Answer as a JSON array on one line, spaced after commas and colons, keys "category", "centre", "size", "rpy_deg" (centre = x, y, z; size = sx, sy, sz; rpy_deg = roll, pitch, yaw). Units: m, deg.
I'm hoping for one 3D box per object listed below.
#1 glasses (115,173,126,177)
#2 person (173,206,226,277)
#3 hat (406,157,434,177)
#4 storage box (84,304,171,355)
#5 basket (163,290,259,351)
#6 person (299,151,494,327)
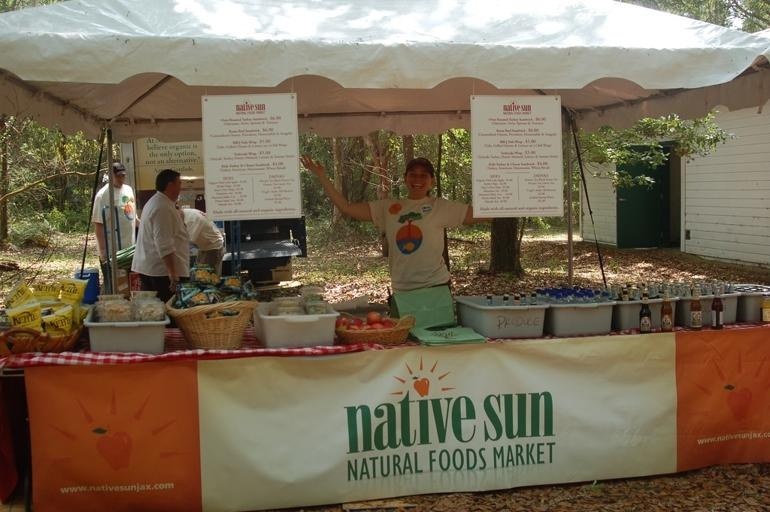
[{"category": "glasses", "centre": [-3.440, -1.090, 8.443], "size": [0.118, 0.051, 0.074], "rpy_deg": [22, 20, 33]}, {"category": "person", "centre": [-2.286, -0.196, 7.915], "size": [0.588, 0.420, 1.018], "rpy_deg": [-1, -34, -10]}, {"category": "hat", "centre": [0.316, -0.851, 6.056], "size": [0.252, 0.181, 0.332], "rpy_deg": [-1, 12, 1]}, {"category": "storage box", "centre": [-2.066, 0.550, 5.157], "size": [0.591, 0.233, 0.732], "rpy_deg": [2, 11, -21]}, {"category": "basket", "centre": [-1.287, 0.459, 5.005], "size": [0.477, 0.238, 0.472], "rpy_deg": [-4, 1, 1]}, {"category": "person", "centre": [0.207, -0.290, 5.958], "size": [1.396, 1.235, 0.486], "rpy_deg": [-2, 12, -4]}]
